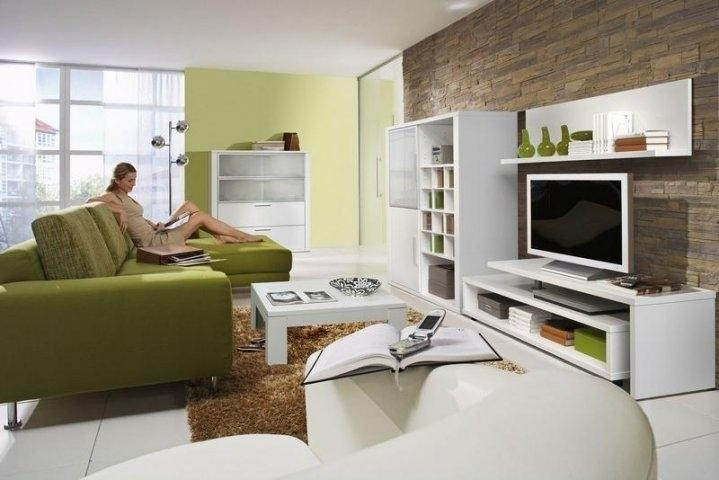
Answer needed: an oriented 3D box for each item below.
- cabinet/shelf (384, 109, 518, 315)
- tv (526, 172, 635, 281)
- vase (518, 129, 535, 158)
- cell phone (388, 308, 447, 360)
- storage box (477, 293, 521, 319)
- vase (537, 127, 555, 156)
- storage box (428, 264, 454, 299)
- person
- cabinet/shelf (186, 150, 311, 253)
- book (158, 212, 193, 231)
[{"bbox_3d":[0.905,-0.257,4.761,0.730,2.065,2.263,0,0,-16],"label":"cabinet/shelf"},{"bbox_3d":[1.585,-0.149,3.664,0.115,0.660,1.021,-8,9,-18],"label":"tv"},{"bbox_3d":[1.449,-0.845,4.362,0.124,0.244,0.529,2,11,17],"label":"vase"},{"bbox_3d":[0.214,0.349,1.889,0.102,0.096,0.290,-4,6,43],"label":"cell phone"},{"bbox_3d":[1.130,0.539,4.132,0.197,0.113,0.269,-3,6,-22],"label":"storage box"},{"bbox_3d":[1.547,-0.814,4.153,0.137,0.238,0.427,2,11,19],"label":"vase"},{"bbox_3d":[0.850,0.418,5.004,0.219,0.216,0.350,2,6,-26],"label":"storage box"},{"bbox_3d":[-1.852,-0.314,5.123,1.719,0.800,0.730,-3,15,-34],"label":"person"},{"bbox_3d":[-1.727,-0.601,8.094,1.818,1.586,0.679,-7,13,-44],"label":"cabinet/shelf"},{"bbox_3d":[-1.853,-0.218,4.995,0.342,0.075,0.198,-17,-4,14],"label":"book"}]
